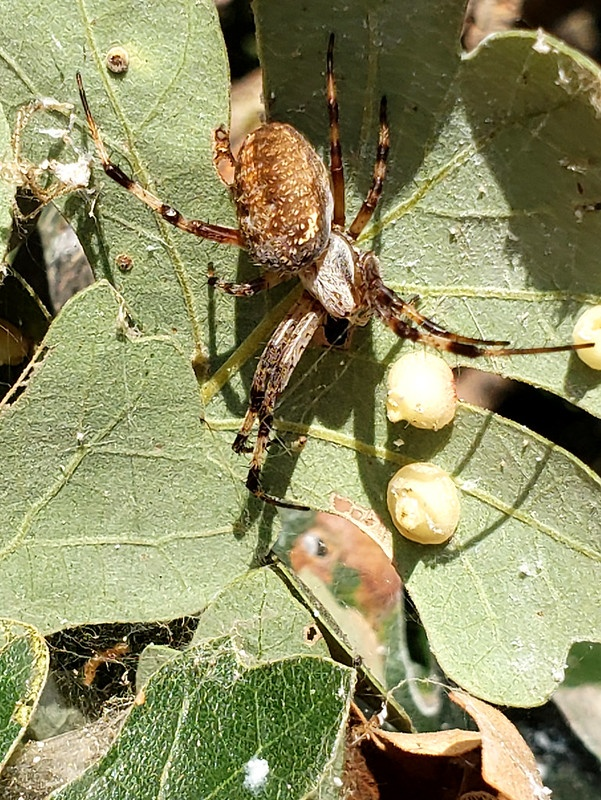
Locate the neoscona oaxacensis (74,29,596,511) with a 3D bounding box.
[{"bbox_3d":[-0.012,-0.224,1.272,0.545,0.356,0.705,-32,76,-5],"label":"neoscona oaxacensis"}]
